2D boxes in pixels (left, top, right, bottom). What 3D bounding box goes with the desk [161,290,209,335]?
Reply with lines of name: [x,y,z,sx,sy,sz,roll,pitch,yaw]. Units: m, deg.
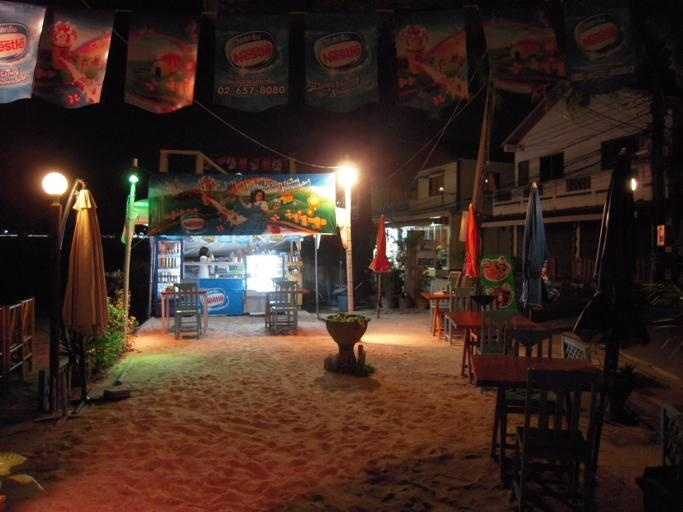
desk: [-4.513,1.484,15.728,1.242,0.939,1.255,-7,10,39]

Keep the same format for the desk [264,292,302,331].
desk: [-1.598,1.456,15.765,0.740,1.321,0.796,2,-1,-8]

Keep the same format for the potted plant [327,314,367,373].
potted plant: [0.152,1.706,11.205,1.036,1.057,1.034,-2,4,-43]

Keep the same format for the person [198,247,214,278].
person: [-4.540,0.188,18.351,0.532,0.981,0.723,-3,11,-13]

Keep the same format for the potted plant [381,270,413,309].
potted plant: [2.073,1.340,22.163,1.430,1.856,1.414,0,-5,-13]
